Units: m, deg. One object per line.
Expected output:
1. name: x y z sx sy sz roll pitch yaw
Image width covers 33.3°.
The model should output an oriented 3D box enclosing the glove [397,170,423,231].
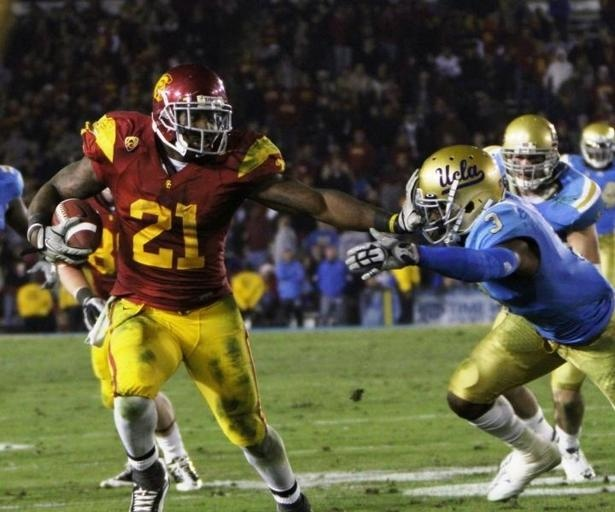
1. glove: 0.535 -0.289 5.412 0.133 0.318 0.407 -7 5 7

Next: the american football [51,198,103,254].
1. american football: -1.265 -0.161 5.718 0.274 0.298 0.191 -1 -34 -29

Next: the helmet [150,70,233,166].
1. helmet: -0.678 -0.768 5.533 0.442 0.398 0.539 -4 14 -27

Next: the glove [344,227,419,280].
1. glove: 0.341 -0.008 5.051 0.313 0.234 0.290 -8 6 -16

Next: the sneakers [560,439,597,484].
1. sneakers: 1.602 1.243 6.196 0.115 0.293 0.147 -41 -53 21

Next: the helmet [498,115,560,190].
1. helmet: 1.399 -0.643 6.460 0.432 0.437 0.506 -2 10 17

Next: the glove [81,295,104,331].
1. glove: -1.199 0.316 5.765 0.162 0.174 0.072 3 12 -30

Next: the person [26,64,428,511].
1. person: -0.464 0.190 5.498 1.304 2.433 0.608 -9 6 -10
